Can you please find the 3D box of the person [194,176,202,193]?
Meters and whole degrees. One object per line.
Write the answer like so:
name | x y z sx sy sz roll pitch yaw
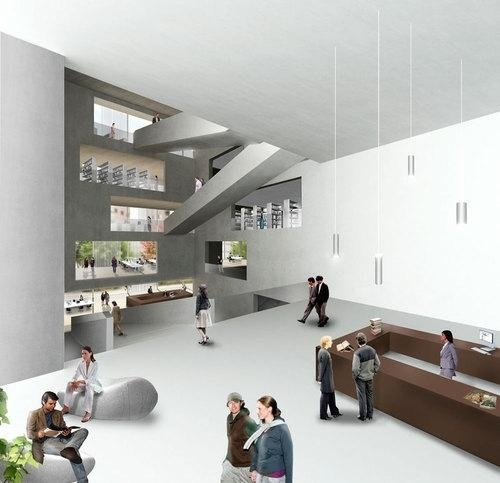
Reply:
person | -2.200 -2.500 16.977 0.357 0.604 1.147 -1 7 -9

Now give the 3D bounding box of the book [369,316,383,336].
book | 2.170 1.441 6.741 0.237 0.386 0.251 -3 -2 45

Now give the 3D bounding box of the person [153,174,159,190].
person | -3.919 -2.467 16.541 0.190 0.675 1.507 -2 7 -13

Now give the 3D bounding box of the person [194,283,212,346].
person | -0.859 1.319 7.288 0.260 1.222 0.920 -1 7 -7

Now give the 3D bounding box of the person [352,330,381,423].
person | 1.412 1.643 4.764 0.311 1.036 0.201 1 6 9

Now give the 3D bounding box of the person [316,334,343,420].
person | 0.998 1.648 4.839 0.281 1.004 0.364 1 7 15

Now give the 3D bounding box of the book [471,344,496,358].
book | 3.405 1.562 5.698 0.299 0.077 0.286 5 9 39

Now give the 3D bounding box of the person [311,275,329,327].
person | 1.524 1.226 8.199 0.279 1.157 0.828 1 7 12
